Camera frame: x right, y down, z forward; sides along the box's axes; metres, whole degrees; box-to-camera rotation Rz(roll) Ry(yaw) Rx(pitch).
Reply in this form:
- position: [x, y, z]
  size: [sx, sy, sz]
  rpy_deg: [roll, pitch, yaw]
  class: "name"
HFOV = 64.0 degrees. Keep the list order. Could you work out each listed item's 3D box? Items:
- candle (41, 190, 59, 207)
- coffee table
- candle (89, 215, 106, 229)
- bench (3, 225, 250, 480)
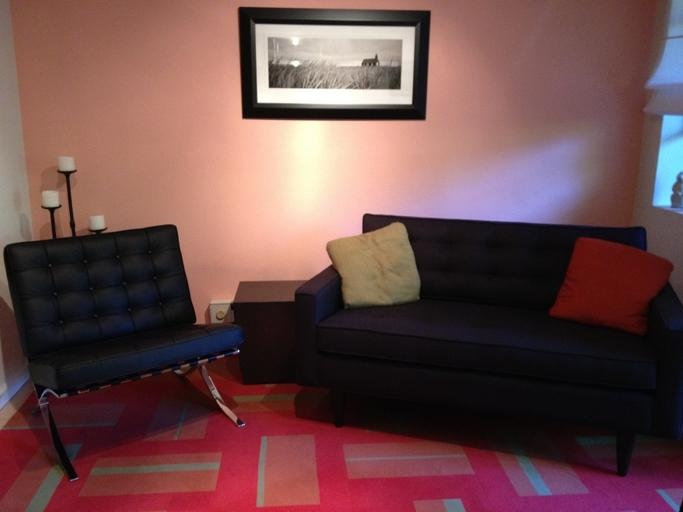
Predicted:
- position: [-1.816, -0.350, 3.421]
  size: [0.114, 0.112, 0.113]
  rpy_deg: [0, 3, -36]
  class: "candle"
- position: [-0.457, 0.438, 3.616]
  size: [0.579, 0.646, 0.571]
  rpy_deg: [1, 15, -4]
  class: "coffee table"
- position: [-1.557, -0.214, 3.519]
  size: [0.093, 0.093, 0.095]
  rpy_deg: [6, 12, 9]
  class: "candle"
- position: [-1.289, 0.465, 3.337]
  size: [1.208, 1.313, 1.307]
  rpy_deg: [-10, 20, -40]
  class: "bench"
